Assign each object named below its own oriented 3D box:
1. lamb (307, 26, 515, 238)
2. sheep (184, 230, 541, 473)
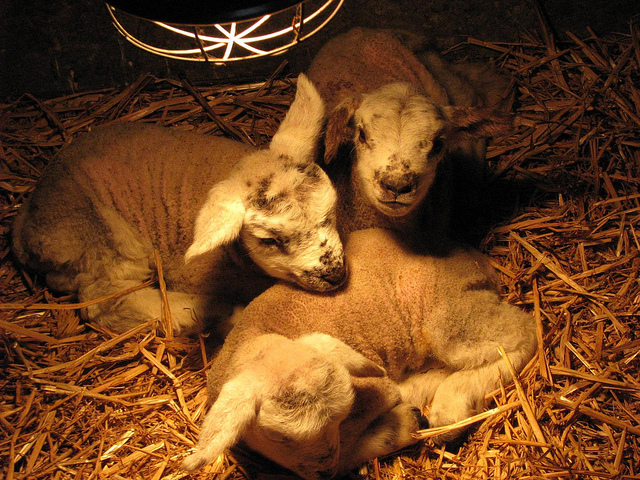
[{"bbox_3d":[0.581,-0.664,4.819,1.423,1.149,1.673,7,41,9],"label":"lamb"},{"bbox_3d":[0.409,0.651,4.267,1.488,0.705,1.693,3,46,36],"label":"sheep"}]
